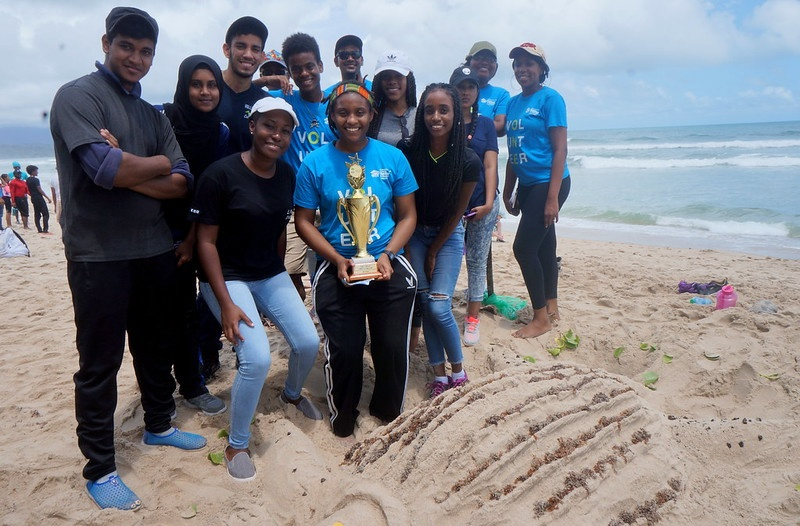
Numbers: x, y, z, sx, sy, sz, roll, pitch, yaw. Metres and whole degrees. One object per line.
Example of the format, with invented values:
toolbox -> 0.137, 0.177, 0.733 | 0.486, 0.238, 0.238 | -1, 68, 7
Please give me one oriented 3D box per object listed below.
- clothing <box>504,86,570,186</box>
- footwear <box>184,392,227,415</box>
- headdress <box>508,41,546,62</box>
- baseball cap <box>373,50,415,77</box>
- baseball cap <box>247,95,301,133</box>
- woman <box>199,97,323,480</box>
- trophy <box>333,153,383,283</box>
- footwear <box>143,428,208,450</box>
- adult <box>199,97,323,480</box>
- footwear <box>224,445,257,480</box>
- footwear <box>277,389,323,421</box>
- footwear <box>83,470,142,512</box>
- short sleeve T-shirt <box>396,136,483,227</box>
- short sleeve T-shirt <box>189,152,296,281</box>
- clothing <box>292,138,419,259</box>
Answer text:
clothing -> 1.530, -1.452, 6.555 | 0.262, 1.096, 0.816 | -11, 17, -40
footwear -> -1.825, 1.325, 5.349 | 0.354, 0.142, 0.179 | 11, 16, 15
headdress -> 1.425, -2.345, 6.370 | 0.357, 0.190, 0.258 | 1, 12, 3
baseball cap -> -0.065, -1.878, 5.381 | 0.324, 0.223, 0.213 | 0, 12, -2
baseball cap -> -1.099, -1.291, 4.935 | 0.267, 0.181, 0.353 | 12, 1, -32
woman -> -1.221, 0.178, 4.922 | 0.965, 3.150, 0.904 | -5, 14, -21
trophy -> -0.368, -0.391, 5.091 | 0.381, 1.150, 0.504 | -1, 13, -7
footwear -> -1.987, 1.527, 5.065 | 0.547, 0.184, 0.205 | 2, 5, -9
adult -> -1.221, 0.178, 4.922 | 0.965, 3.150, 0.904 | -5, 14, -21
footwear -> -1.354, 1.680, 4.841 | 0.224, 0.249, 0.212 | -5, 13, -21
footwear -> -0.888, 1.338, 5.392 | 0.479, 0.172, 0.172 | 28, 24, 11
footwear -> -2.302, 1.835, 4.604 | 0.467, 0.187, 0.230 | 15, 23, 27
short sleeve T-shirt -> 0.331, -0.796, 5.484 | 0.907, 0.824, 0.455 | 5, 15, -4
short sleeve T-shirt -> -1.422, -0.417, 4.994 | 0.540, 0.966, 1.040 | 14, 15, 39
clothing -> -0.379, -0.585, 5.214 | 1.145, 1.053, 0.579 | -4, 8, -11
